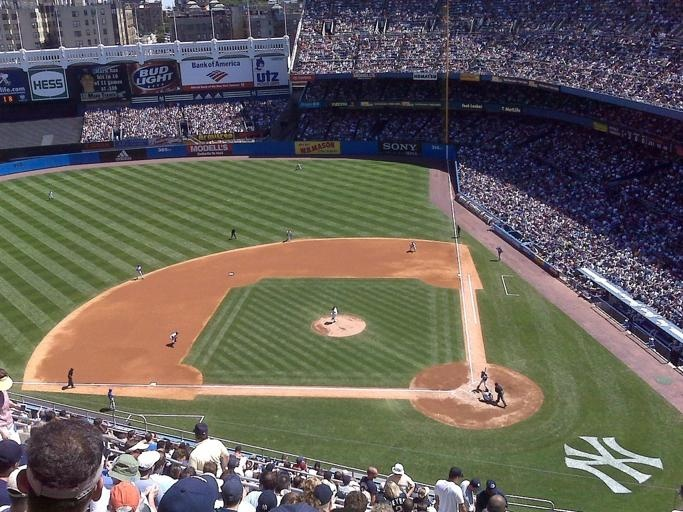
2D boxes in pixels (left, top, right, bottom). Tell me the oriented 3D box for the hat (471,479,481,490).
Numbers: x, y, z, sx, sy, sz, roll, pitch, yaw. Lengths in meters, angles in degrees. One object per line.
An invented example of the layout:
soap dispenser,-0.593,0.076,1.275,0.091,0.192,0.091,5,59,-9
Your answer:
hat,3.634,6.173,16.519,0.366,0.166,0.400,1,-6,1

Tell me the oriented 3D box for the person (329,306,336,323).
person,-0.593,3.830,39.845,0.489,0.803,0.397,2,-1,12

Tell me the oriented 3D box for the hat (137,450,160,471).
hat,-4.372,4.682,13.790,0.412,0.534,0.597,1,18,-17

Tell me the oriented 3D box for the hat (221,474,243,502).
hat,-1.999,4.310,11.050,0.382,0.596,0.461,5,18,-7
